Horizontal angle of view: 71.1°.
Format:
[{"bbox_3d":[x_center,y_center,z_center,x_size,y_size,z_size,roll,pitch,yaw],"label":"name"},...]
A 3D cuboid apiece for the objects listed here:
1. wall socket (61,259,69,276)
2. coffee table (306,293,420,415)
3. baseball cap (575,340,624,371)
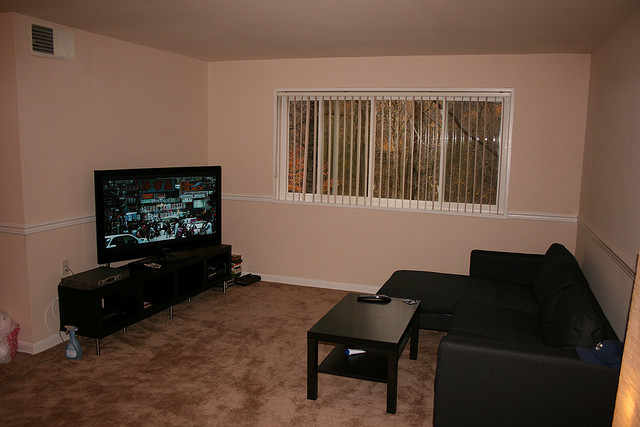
[{"bbox_3d":[-2.775,0.582,4.845,0.028,0.161,0.101,5,11,29],"label":"wall socket"},{"bbox_3d":[0.440,1.294,4.306,0.806,0.744,1.050,4,10,23],"label":"coffee table"},{"bbox_3d":[2.074,1.025,3.305,0.302,0.165,0.179,3,10,15],"label":"baseball cap"}]
